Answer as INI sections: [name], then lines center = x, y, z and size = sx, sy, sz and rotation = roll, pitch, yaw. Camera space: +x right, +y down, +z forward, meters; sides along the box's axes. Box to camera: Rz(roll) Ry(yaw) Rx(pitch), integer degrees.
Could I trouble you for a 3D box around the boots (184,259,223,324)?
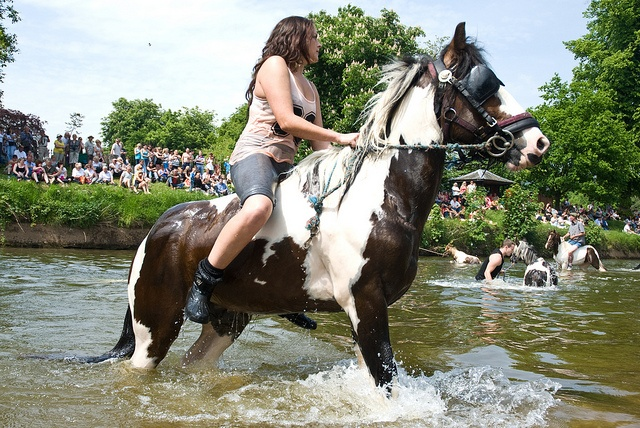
[boots]
center = -1.449, 0.943, 7.190
size = 0.299, 0.676, 0.697
rotation = 9, 9, -19
